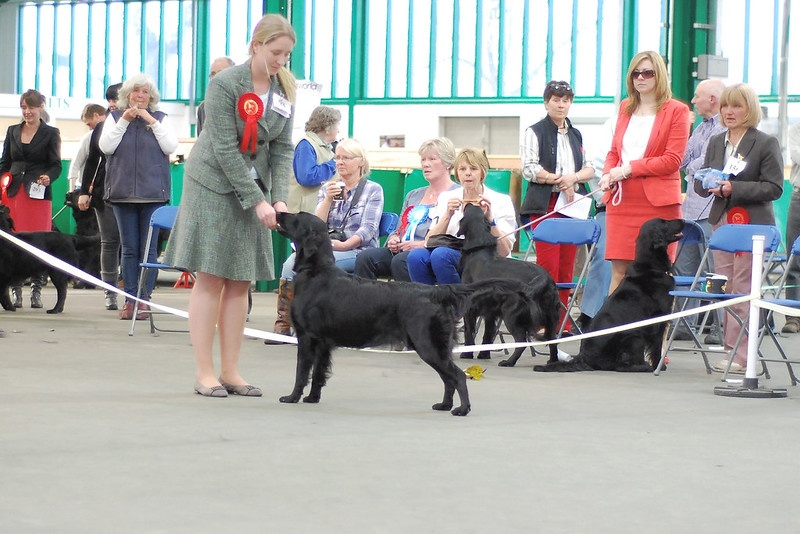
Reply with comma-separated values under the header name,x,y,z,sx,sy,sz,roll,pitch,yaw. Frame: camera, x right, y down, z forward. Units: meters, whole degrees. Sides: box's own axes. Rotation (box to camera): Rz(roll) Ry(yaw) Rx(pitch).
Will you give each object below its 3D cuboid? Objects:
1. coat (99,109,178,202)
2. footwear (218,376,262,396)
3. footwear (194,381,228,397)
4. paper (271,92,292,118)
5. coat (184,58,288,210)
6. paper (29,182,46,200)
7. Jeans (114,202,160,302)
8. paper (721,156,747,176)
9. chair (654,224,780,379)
name,x,y,z,sx,sy,sz,roll,pitch,yaw
coat,-2.400,-1.078,10.763,0.798,0.900,0.557,0,-2,7
footwear,-1.071,0.807,7.711,0.281,0.077,0.097,1,-4,23
footwear,-1.247,0.808,7.582,0.220,0.072,0.085,-5,-8,31
paper,-0.791,-1.069,7.558,0.009,0.113,0.178,-16,-21,39
coat,-1.056,-0.860,7.529,0.689,0.965,0.314,2,2,-6
paper,-3.724,-0.785,11.823,0.174,0.152,0.044,13,2,-37
Jeans,-2.527,-0.121,10.749,0.267,0.798,0.433,13,6,10
paper,2.483,-0.759,8.584,0.044,0.138,0.162,25,-14,-35
chair,2.485,0.215,8.606,0.579,1.184,0.709,2,2,-12
